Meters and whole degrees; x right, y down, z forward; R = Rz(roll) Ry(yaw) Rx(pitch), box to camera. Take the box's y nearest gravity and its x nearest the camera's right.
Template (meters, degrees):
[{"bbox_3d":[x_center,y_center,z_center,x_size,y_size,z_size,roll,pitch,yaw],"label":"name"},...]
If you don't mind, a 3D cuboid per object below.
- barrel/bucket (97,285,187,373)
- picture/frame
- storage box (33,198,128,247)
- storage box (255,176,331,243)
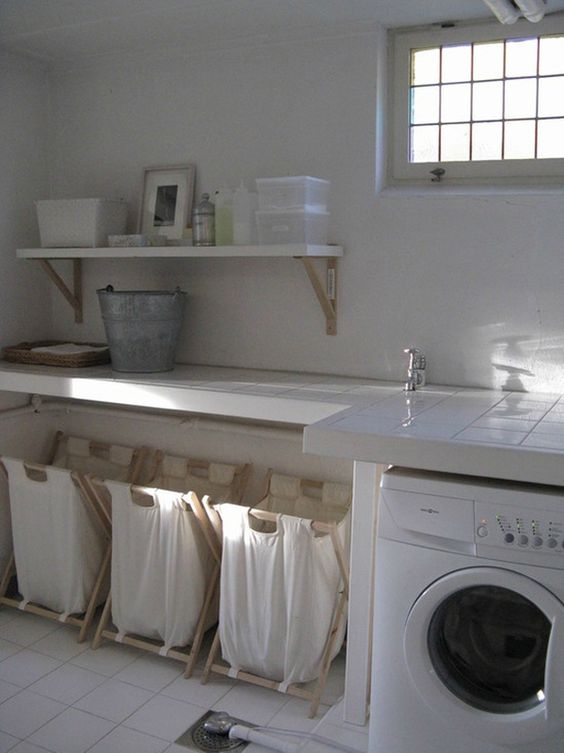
[{"bbox_3d":[-0.554,-0.164,2.529,0.356,0.309,0.333,0,1,0],"label":"barrel/bucket"},{"bbox_3d":[-0.473,-0.721,2.622,0.362,0.415,0.029,8,10,30],"label":"picture/frame"},{"bbox_3d":[-0.850,-0.588,2.610,0.260,0.158,0.261,3,8,19],"label":"storage box"},{"bbox_3d":[0.048,-0.526,2.212,0.259,0.247,0.255,1,3,21],"label":"storage box"}]
